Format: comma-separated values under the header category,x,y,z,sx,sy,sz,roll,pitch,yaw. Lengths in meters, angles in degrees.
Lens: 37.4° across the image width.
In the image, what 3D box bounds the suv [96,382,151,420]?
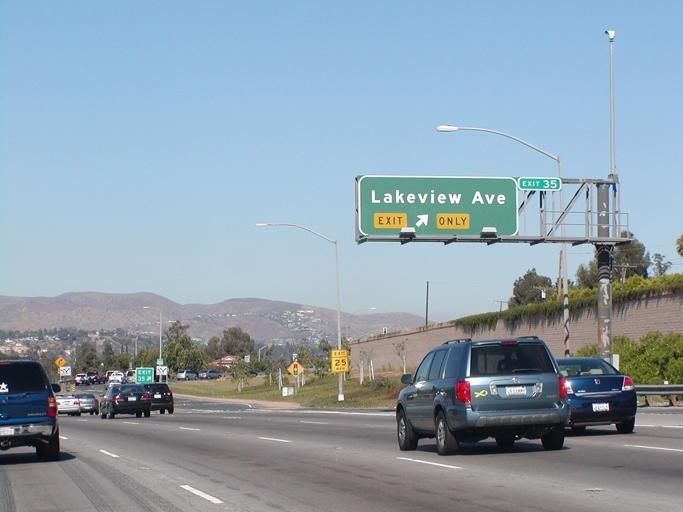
category,x,y,z,sx,sy,sz,roll,pitch,yaw
suv,-11.462,7.698,53.535,2.044,1.792,3.152,2,-6,-32

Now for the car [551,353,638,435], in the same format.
category,x,y,z,sx,sy,sz,roll,pitch,yaw
car,7.035,3.779,27.790,1.953,2.365,3.073,-1,-8,10

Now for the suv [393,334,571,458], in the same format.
category,x,y,z,sx,sy,sz,roll,pitch,yaw
suv,3.067,3.405,25.042,2.451,1.988,4.301,1,-4,-15
